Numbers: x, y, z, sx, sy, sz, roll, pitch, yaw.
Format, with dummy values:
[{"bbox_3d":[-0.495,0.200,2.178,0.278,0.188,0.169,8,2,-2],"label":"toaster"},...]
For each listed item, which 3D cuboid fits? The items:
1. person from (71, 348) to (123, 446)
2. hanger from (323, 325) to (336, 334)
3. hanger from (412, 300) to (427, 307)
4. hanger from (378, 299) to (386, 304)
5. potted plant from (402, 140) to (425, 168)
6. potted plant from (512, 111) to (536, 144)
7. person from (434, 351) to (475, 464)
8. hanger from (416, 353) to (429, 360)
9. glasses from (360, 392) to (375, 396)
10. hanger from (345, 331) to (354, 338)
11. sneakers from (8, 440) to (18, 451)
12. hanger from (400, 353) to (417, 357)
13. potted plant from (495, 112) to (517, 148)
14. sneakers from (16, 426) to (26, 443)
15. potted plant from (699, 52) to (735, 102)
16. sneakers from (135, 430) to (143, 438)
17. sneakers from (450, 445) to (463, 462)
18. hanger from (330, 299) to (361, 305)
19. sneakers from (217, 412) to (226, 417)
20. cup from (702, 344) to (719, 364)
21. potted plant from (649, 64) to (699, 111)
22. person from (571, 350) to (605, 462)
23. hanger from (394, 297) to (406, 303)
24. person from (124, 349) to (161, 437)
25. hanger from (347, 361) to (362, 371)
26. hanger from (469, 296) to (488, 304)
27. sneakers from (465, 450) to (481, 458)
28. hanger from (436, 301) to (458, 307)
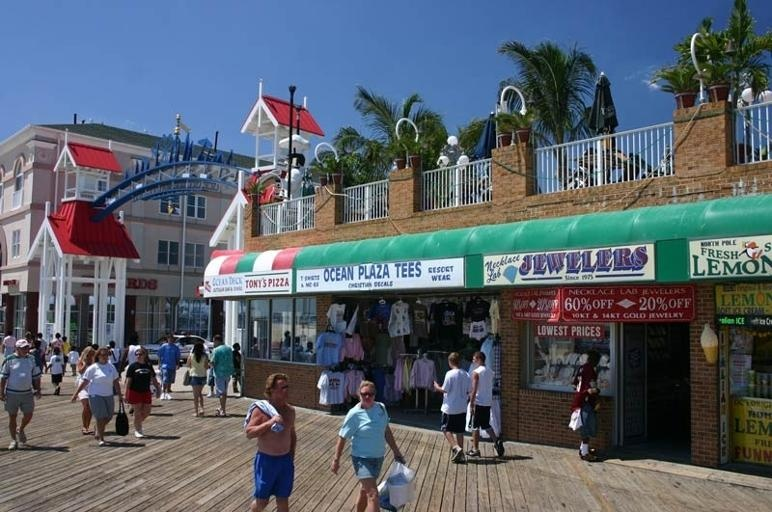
[{"bbox_3d":[-7.682,3.778,21.487,1.092,2.561,1.116,3,-9,-23],"label":"person"},{"bbox_3d":[-1.734,2.348,25.332,0.345,0.379,0.232,0,-7,-6],"label":"hanger"},{"bbox_3d":[1.103,1.485,24.756,0.360,0.260,0.255,-5,-10,19],"label":"hanger"},{"bbox_3d":[-0.087,1.474,25.440,0.171,0.186,0.312,4,-5,-31],"label":"hanger"},{"bbox_3d":[0.934,-3.034,24.967,0.686,0.875,0.706,4,-8,-23],"label":"potted plant"},{"bbox_3d":[3.864,-3.480,22.390,0.665,0.884,0.765,-2,-9,5],"label":"potted plant"},{"bbox_3d":[1.748,3.825,20.118,0.807,2.673,1.075,-2,-9,4],"label":"person"},{"bbox_3d":[1.144,3.101,24.599,0.245,0.183,0.181,-1,-1,-7],"label":"hanger"},{"bbox_3d":[-0.363,2.839,16.394,0.265,0.096,0.107,-1,-9,-5],"label":"glasses"},{"bbox_3d":[-1.151,2.511,25.428,0.184,0.166,0.271,-15,11,-32],"label":"hanger"},{"bbox_3d":[-9.855,4.998,21.126,0.218,0.260,0.398,3,-10,-25],"label":"sneakers"},{"bbox_3d":[0.722,3.104,24.875,0.463,0.144,0.627,0,-10,-8],"label":"hanger"},{"bbox_3d":[3.482,-3.489,22.733,0.659,0.888,0.676,-1,4,-21],"label":"potted plant"},{"bbox_3d":[-9.797,4.813,21.570,0.192,0.225,0.516,6,12,-40],"label":"sneakers"},{"bbox_3d":[8.393,-4.403,19.954,0.751,1.257,0.801,-4,8,-17],"label":"potted plant"},{"bbox_3d":[-6.883,4.951,22.254,0.124,0.167,0.352,7,-9,-36],"label":"sneakers"},{"bbox_3d":[1.786,4.956,19.918,0.188,0.204,0.471,-18,-42,-24],"label":"sneakers"},{"bbox_3d":[-1.252,1.474,25.661,0.909,0.207,0.284,3,-10,-25],"label":"hanger"},{"bbox_3d":[-5.109,4.894,24.846,0.272,0.206,0.552,1,-10,-15],"label":"sneakers"},{"bbox_3d":[7.829,2.386,19.198,0.341,0.421,0.361,-2,-4,0],"label":"cup"},{"bbox_3d":[7.611,-4.182,20.314,0.928,0.999,0.994,0,-1,-35],"label":"potted plant"},{"bbox_3d":[5.022,3.754,20.009,0.731,2.670,0.404,-3,-9,14],"label":"person"},{"bbox_3d":[0.478,1.394,24.909,0.190,0.042,0.368,-13,19,10],"label":"hanger"},{"bbox_3d":[-6.869,3.842,22.406,0.773,2.476,0.844,0,-9,-7],"label":"person"},{"bbox_3d":[-0.979,3.561,25.642,0.464,0.278,0.356,-1,-9,-4],"label":"hanger"},{"bbox_3d":[2.700,1.300,22.988,0.537,0.285,0.425,-2,-10,5],"label":"hanger"},{"bbox_3d":[2.219,5.009,20.320,0.169,0.197,0.427,5,-10,-25],"label":"sneakers"},{"bbox_3d":[1.869,1.464,23.889,0.591,0.182,0.094,-4,-9,15],"label":"hanger"}]
